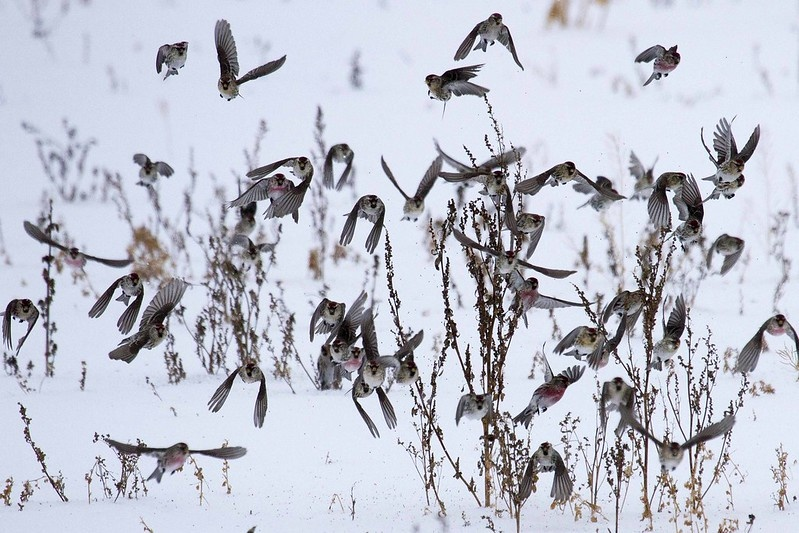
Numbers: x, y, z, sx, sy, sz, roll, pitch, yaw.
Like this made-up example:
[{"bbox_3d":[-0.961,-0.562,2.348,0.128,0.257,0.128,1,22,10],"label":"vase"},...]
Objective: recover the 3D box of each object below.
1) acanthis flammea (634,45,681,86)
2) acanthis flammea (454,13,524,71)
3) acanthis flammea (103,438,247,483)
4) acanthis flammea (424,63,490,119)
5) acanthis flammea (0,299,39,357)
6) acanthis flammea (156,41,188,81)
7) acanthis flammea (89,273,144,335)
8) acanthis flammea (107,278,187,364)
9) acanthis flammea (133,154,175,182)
[{"bbox_3d":[2.037,-1.605,11.020,0.328,0.314,0.451,-1,-4,-13],"label":"acanthis flammea"},{"bbox_3d":[0.681,-1.759,10.849,0.506,0.436,0.830,-2,-4,2],"label":"acanthis flammea"},{"bbox_3d":[-1.674,1.455,10.582,1.044,0.353,0.648,-2,-4,-4],"label":"acanthis flammea"},{"bbox_3d":[0.411,-1.375,10.876,0.427,0.288,0.541,17,-13,-37],"label":"acanthis flammea"},{"bbox_3d":[-3.114,0.508,11.406,0.218,0.203,0.576,3,-35,-25],"label":"acanthis flammea"},{"bbox_3d":[-1.803,-1.641,11.046,0.247,0.330,0.387,-1,-4,-11],"label":"acanthis flammea"},{"bbox_3d":[-2.159,0.330,10.946,0.340,0.521,0.186,36,3,10],"label":"acanthis flammea"},{"bbox_3d":[-2.055,0.467,11.400,0.448,0.828,0.387,32,7,22],"label":"acanthis flammea"},{"bbox_3d":[-2.061,-0.803,11.522,0.305,0.251,0.534,-2,-4,10],"label":"acanthis flammea"}]
